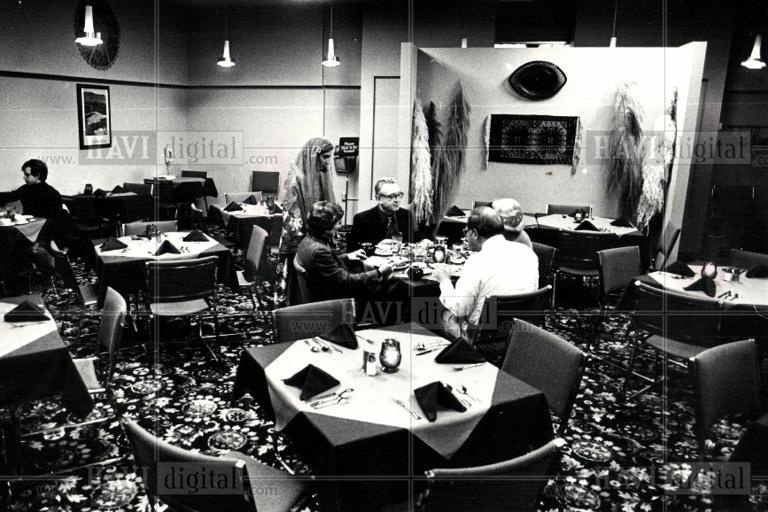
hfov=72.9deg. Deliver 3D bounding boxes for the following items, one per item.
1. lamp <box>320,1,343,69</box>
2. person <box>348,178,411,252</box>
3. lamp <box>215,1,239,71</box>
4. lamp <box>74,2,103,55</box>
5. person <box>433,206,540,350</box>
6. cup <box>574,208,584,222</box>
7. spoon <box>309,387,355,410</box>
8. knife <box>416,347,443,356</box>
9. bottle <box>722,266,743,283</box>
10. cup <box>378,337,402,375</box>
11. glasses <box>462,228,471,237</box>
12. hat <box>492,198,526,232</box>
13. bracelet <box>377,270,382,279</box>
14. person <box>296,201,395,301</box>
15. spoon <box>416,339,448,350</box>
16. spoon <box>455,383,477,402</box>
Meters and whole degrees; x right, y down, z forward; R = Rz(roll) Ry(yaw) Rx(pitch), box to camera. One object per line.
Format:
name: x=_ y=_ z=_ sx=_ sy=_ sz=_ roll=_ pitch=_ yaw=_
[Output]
lamp: x=-0.428 y=-1.770 z=4.196 sx=0.151 sy=0.484 sz=0.095 roll=-2 pitch=12 yaw=-7
person: x=-0.049 y=-0.381 z=4.714 sx=0.584 sy=0.946 sz=0.337 roll=-5 pitch=9 yaw=-23
lamp: x=-1.247 y=-1.701 z=4.111 sx=0.139 sy=0.439 sz=0.051 roll=-3 pitch=12 yaw=-15
lamp: x=-2.327 y=-1.817 z=4.110 sx=0.204 sy=0.341 sz=0.058 roll=1 pitch=12 yaw=3
person: x=0.778 y=0.189 z=3.980 sx=0.705 sy=1.136 sz=0.670 roll=-19 pitch=39 yaw=-20
cup: x=1.668 y=-0.350 z=4.395 sx=0.100 sy=0.098 sz=0.077 roll=-2 pitch=1 yaw=-18
spoon: x=-0.282 y=0.777 z=2.810 sx=0.160 sy=0.023 sz=0.095 roll=-13 pitch=22 yaw=-28
knife: x=0.273 y=0.588 z=3.187 sx=0.182 sy=0.012 sz=0.024 roll=-7 pitch=42 yaw=-27
bottle: x=2.783 y=0.151 z=4.163 sx=0.164 sy=0.118 sz=0.121 roll=3 pitch=2 yaw=7
cup: x=0.036 y=0.584 z=3.007 sx=0.173 sy=0.225 sz=0.177 roll=0 pitch=0 yaw=0
glasses: x=0.654 y=-0.188 z=4.131 sx=0.076 sy=0.078 sz=0.024 roll=1 pitch=-2 yaw=-23
hat: x=1.111 y=-0.367 z=4.648 sx=0.247 sy=0.259 sz=0.339 roll=13 pitch=11 yaw=25
bracelet: x=-0.034 y=0.149 z=4.257 sx=0.058 sy=0.061 sz=0.065 roll=-3 pitch=-3 yaw=4
person: x=-0.330 y=-0.029 z=4.338 sx=0.509 sy=0.806 sz=0.444 roll=-19 pitch=38 yaw=-18
spoon: x=0.301 y=0.555 z=3.269 sx=0.070 sy=0.029 sz=0.215 roll=4 pitch=7 yaw=33
spoon: x=0.445 y=0.760 z=2.869 sx=0.081 sy=0.041 sz=0.164 roll=-8 pitch=14 yaw=-32
